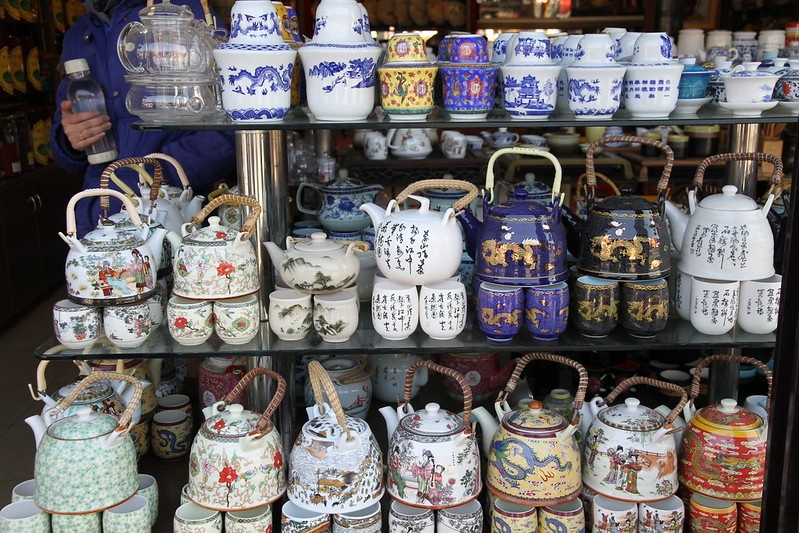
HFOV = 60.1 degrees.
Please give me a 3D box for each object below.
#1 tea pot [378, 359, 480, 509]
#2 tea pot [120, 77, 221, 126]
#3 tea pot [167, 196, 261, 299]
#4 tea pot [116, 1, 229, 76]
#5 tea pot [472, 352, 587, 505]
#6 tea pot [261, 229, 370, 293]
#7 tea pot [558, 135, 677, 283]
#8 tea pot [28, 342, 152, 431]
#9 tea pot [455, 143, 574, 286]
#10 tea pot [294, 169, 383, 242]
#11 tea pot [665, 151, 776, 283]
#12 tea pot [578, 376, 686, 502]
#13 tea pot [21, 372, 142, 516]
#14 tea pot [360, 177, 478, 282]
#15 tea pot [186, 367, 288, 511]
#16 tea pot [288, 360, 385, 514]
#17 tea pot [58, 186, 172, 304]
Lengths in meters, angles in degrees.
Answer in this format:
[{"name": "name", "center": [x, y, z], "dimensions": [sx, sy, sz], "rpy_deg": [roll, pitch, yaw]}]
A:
[{"name": "tea pot", "center": [0.088, 0.472, 1.998], "dimensions": [0.282, 0.350, 0.344], "rpy_deg": [-4, 6, -43]}, {"name": "tea pot", "center": [-0.663, -0.489, 2.003], "dimensions": [0.284, 0.124, 0.306], "rpy_deg": [-2, 13, 0]}, {"name": "tea pot", "center": [-0.510, -0.063, 1.913], "dimensions": [0.300, 0.272, 0.240], "rpy_deg": [3, 10, 22]}, {"name": "tea pot", "center": [-0.637, -0.625, 2.005], "dimensions": [0.349, 0.233, 0.267], "rpy_deg": [-2, 22, -13]}, {"name": "tea pot", "center": [0.384, 0.458, 2.028], "dimensions": [0.287, 0.375, 0.377], "rpy_deg": [2, 0, -42]}, {"name": "tea pot", "center": [-0.229, -0.020, 1.951], "dimensions": [0.304, 0.153, 0.222], "rpy_deg": [3, 20, 6]}, {"name": "tea pot", "center": [0.608, -0.166, 1.936], "dimensions": [0.317, 0.398, 0.294], "rpy_deg": [-2, 19, 1]}, {"name": "tea pot", "center": [-0.881, 0.369, 2.032], "dimensions": [0.230, 0.320, 0.341], "rpy_deg": [-5, -3, 39]}, {"name": "tea pot", "center": [0.308, -0.151, 1.912], "dimensions": [0.272, 0.347, 0.276], "rpy_deg": [-2, 19, 1]}, {"name": "tea pot", "center": [-0.197, -0.225, 2.357], "dimensions": [0.303, 0.204, 0.193], "rpy_deg": [-4, 16, -9]}, {"name": "tea pot", "center": [0.945, -0.149, 1.945], "dimensions": [0.362, 0.310, 0.260], "rpy_deg": [-13, 22, -28]}, {"name": "tea pot", "center": [0.681, 0.484, 2.011], "dimensions": [0.362, 0.306, 0.264], "rpy_deg": [3, 5, -22]}, {"name": "tea pot", "center": [-0.876, 0.478, 1.923], "dimensions": [0.349, 0.335, 0.269], "rpy_deg": [3, -5, 19]}, {"name": "tea pot", "center": [0.056, -0.097, 1.899], "dimensions": [0.320, 0.270, 0.212], "rpy_deg": [-2, 19, -1]}, {"name": "tea pot", "center": [-0.455, 0.490, 2.052], "dimensions": [0.352, 0.363, 0.336], "rpy_deg": [4, 3, 0]}, {"name": "tea pot", "center": [-0.185, 0.478, 1.878], "dimensions": [0.248, 0.419, 0.182], "rpy_deg": [6, 21, 23]}, {"name": "tea pot", "center": [-0.767, -0.069, 1.854], "dimensions": [0.275, 0.279, 0.218], "rpy_deg": [-3, 20, -12]}]
